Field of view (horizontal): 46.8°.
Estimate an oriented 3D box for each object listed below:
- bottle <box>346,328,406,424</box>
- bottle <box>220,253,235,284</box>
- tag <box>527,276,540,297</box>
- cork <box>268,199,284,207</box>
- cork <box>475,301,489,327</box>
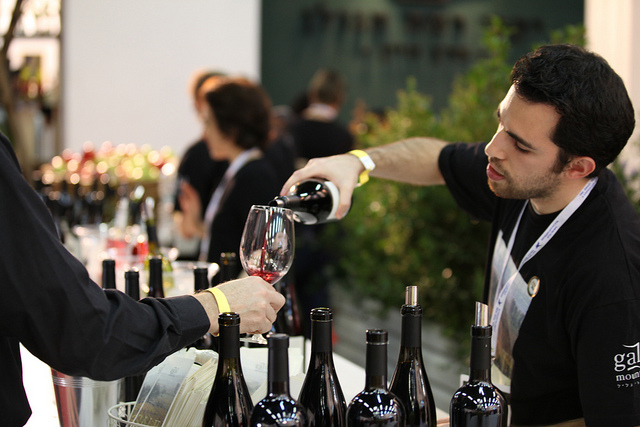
[{"bbox_3d":[0.159,0.463,2.132,0.139,0.266,0.135,0,0,0],"label":"bottle"},{"bbox_3d":[-0.361,0.222,2.941,0.054,0.057,0.228,6,-44,-4],"label":"bottle"},{"bbox_3d":[0.740,0.248,2.552,0.013,0.067,0.046,0,-1,-34],"label":"tag"},{"bbox_3d":[-0.152,-0.043,2.545,0.034,0.030,0.037,-14,2,14],"label":"cork"},{"bbox_3d":[0.472,0.288,2.139,0.039,0.068,0.071,0,-1,12],"label":"cork"}]
